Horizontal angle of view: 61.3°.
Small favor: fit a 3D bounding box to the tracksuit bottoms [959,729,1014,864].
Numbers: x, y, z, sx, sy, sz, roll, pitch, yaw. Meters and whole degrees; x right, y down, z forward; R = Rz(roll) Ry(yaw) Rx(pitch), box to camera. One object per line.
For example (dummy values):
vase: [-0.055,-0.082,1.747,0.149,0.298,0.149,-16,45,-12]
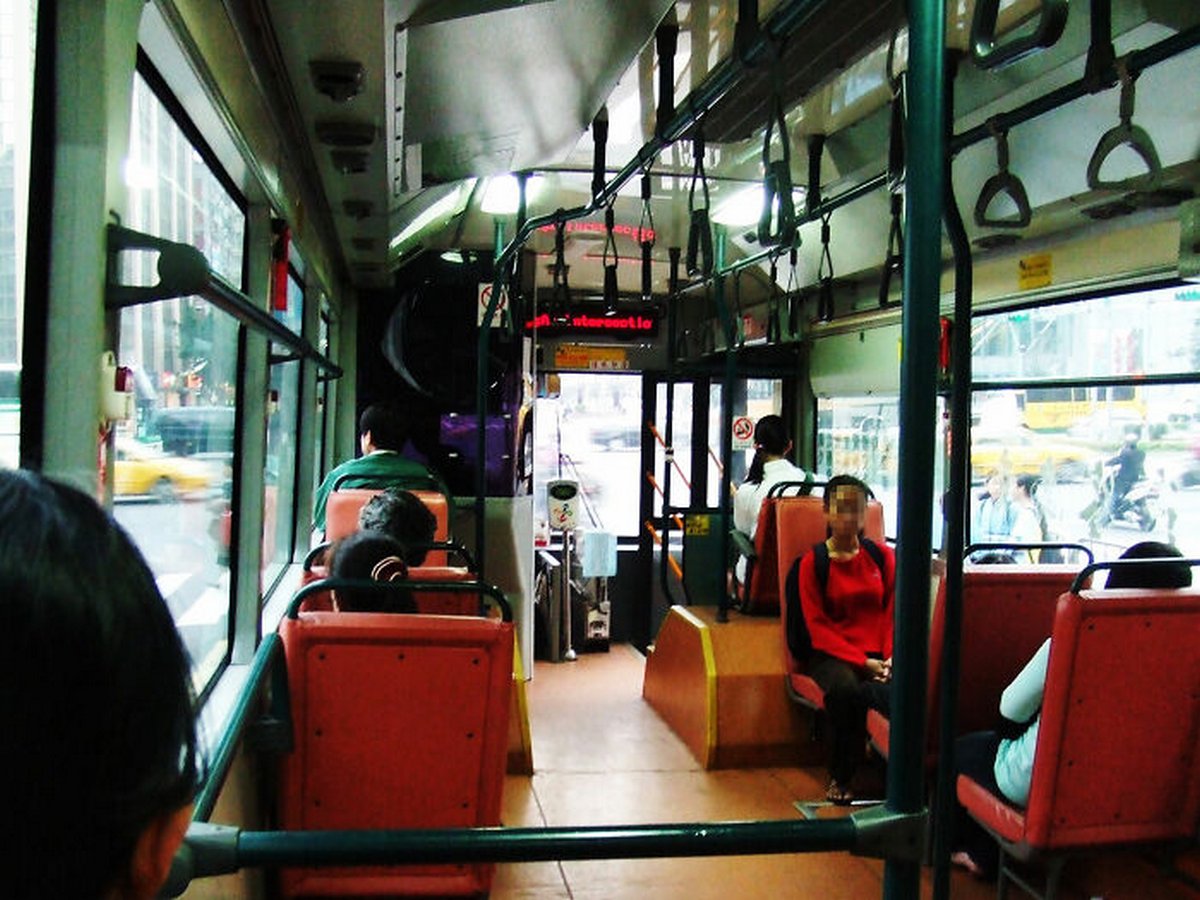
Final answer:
tracksuit bottoms: [1.537,1.448,4.105,0.120,0.473,0.479,-10,2,8]
